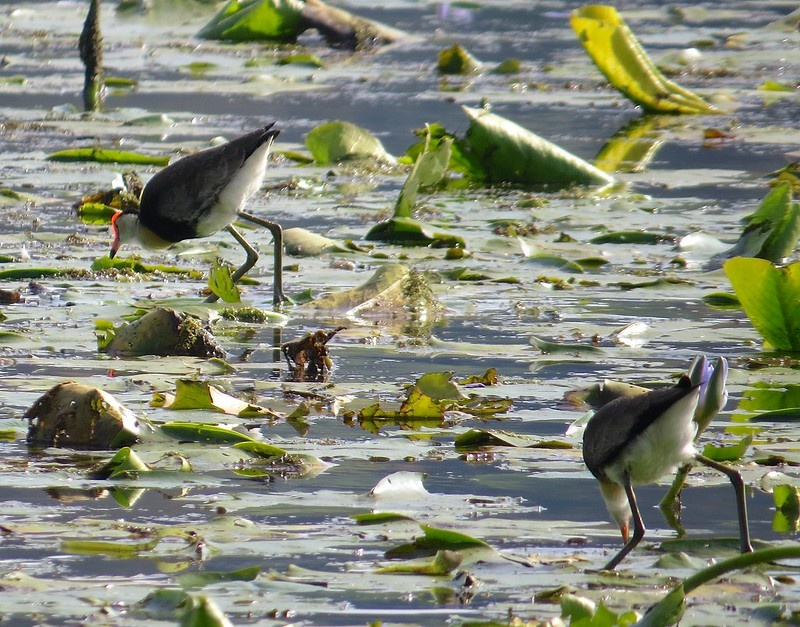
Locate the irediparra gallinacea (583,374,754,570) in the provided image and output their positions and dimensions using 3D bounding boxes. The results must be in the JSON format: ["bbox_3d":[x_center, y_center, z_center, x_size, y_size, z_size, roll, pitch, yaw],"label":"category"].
[{"bbox_3d":[0.702,0.379,3.510,0.388,0.505,0.299,2,20,-12],"label":"irediparra gallinacea"}]

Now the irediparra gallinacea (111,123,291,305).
[{"bbox_3d":[-0.813,-0.517,6.296,1.059,0.714,0.546,18,22,40],"label":"irediparra gallinacea"}]
